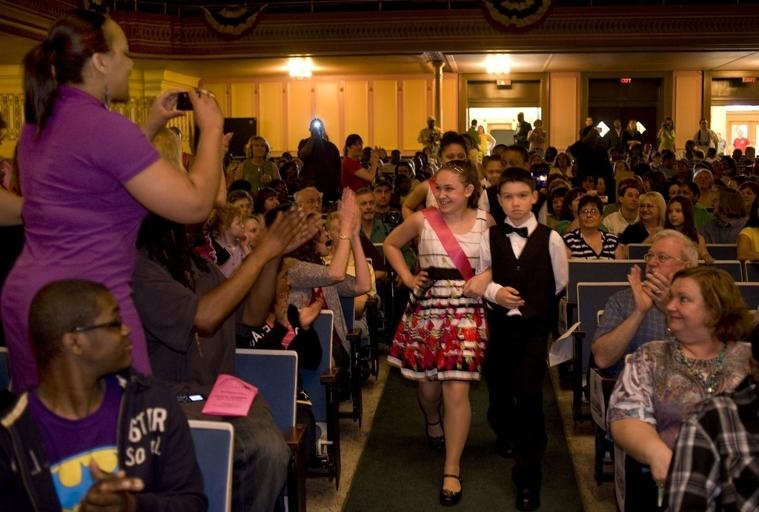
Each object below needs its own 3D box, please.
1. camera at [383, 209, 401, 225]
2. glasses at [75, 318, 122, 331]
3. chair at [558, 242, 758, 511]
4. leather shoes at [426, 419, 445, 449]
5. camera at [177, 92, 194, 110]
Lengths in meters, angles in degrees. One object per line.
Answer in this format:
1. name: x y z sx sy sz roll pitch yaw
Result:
1. camera: 0.157 -0.449 7.675 0.198 0.203 0.067 35 -29 11
2. glasses: -0.949 0.235 2.116 0.150 0.036 0.039 -6 10 -28
3. chair: 1.324 0.813 3.177 0.617 1.585 1.076 -3 8 -11
4. leather shoes: 0.407 1.313 4.643 0.128 0.221 0.102 0 8 9
5. camera: -0.794 -0.627 2.567 0.071 0.075 0.077 0 -3 3
